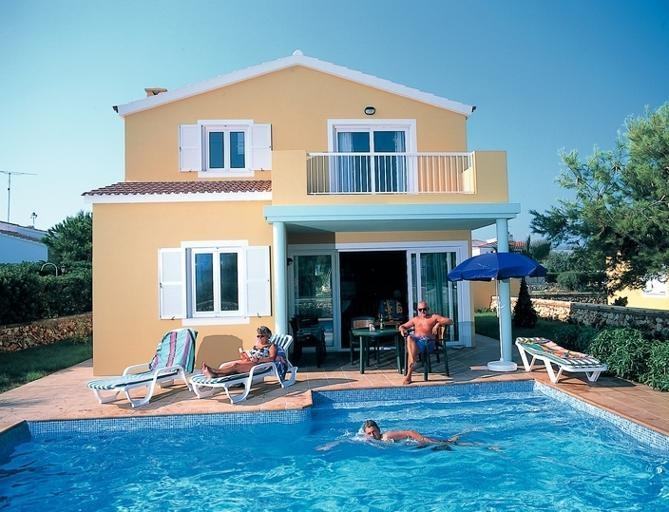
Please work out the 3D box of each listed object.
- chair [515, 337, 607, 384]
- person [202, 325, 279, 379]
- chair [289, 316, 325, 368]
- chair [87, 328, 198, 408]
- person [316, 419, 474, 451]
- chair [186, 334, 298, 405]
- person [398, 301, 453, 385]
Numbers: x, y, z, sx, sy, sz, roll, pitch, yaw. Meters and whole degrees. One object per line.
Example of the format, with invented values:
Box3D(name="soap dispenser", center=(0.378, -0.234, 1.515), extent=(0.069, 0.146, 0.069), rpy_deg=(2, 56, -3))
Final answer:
Box3D(name="chair", center=(5.155, 2.407, 13.083), extent=(0.846, 0.596, 1.742), rpy_deg=(0, 0, -18))
Box3D(name="person", center=(-2.086, 2.173, 12.527), extent=(1.750, 0.958, 0.796), rpy_deg=(-5, -4, -35))
Box3D(name="chair", center=(-0.743, 2.276, 15.373), extent=(0.853, 1.261, 0.988), rpy_deg=(0, -3, 10))
Box3D(name="chair", center=(-4.255, 2.472, 12.568), extent=(1.289, 1.497, 2.401), rpy_deg=(-3, -4, 33))
Box3D(name="person", center=(1.241, 3.491, 10.782), extent=(1.982, 0.428, 1.047), rpy_deg=(0, -22, -6))
Box3D(name="chair", center=(-2.016, 2.492, 12.531), extent=(1.185, 1.084, 2.211), rpy_deg=(-6, -7, 43))
Box3D(name="person", center=(2.036, 2.008, 13.485), extent=(1.383, 1.754, 0.885), rpy_deg=(-1, -2, -30))
